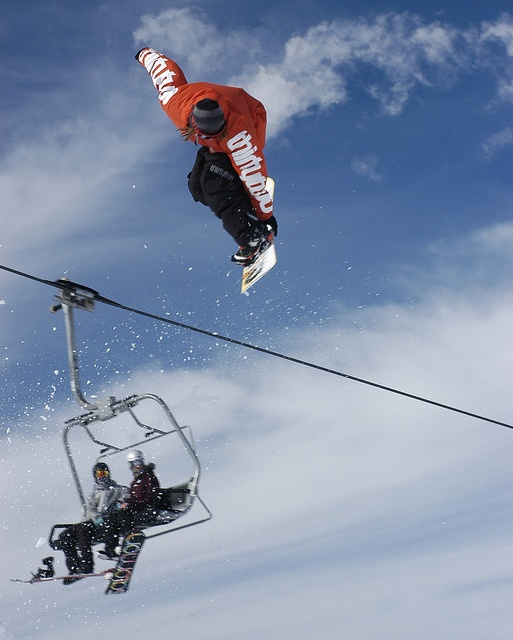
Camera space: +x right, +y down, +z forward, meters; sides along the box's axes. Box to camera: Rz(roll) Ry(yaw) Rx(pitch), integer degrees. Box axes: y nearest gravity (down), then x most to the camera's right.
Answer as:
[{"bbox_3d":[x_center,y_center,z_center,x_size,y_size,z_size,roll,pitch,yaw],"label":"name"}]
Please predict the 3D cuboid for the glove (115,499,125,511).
[{"bbox_3d":[-1.412,1.909,9.076,0.105,0.023,0.083,-23,55,18],"label":"glove"}]

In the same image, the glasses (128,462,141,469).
[{"bbox_3d":[-1.249,1.486,9.049,0.067,0.067,0.088,19,33,34],"label":"glasses"}]

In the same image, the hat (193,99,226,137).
[{"bbox_3d":[-0.394,-1.681,7.423,0.262,0.237,0.268,-5,84,-2],"label":"hat"}]
